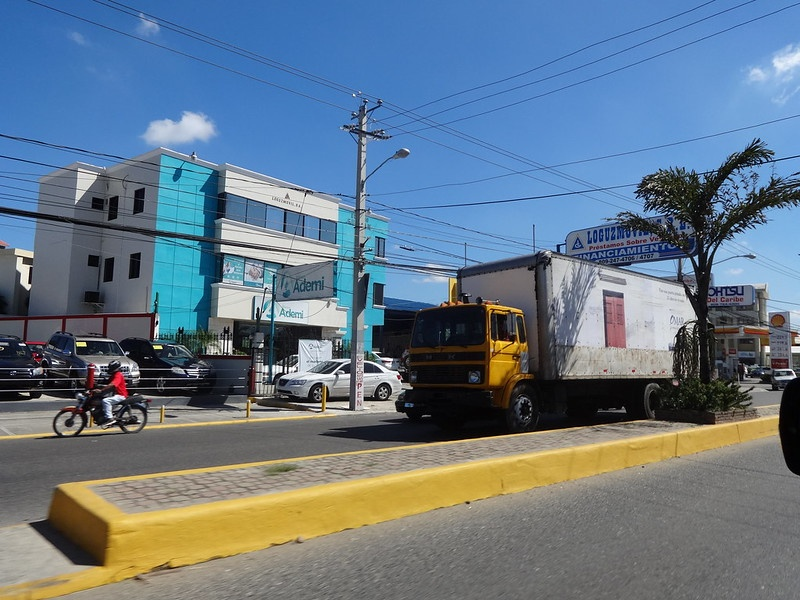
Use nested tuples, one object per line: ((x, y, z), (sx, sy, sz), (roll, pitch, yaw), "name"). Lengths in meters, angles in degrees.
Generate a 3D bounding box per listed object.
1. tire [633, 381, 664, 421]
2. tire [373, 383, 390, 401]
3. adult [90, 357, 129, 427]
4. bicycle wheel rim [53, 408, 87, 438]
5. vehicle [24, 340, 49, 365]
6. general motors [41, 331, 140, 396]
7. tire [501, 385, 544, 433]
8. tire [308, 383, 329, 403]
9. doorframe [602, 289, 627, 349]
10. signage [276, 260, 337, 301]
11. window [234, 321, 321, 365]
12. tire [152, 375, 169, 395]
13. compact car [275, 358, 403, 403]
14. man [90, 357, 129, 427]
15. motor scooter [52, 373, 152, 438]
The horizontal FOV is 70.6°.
((6.837, 2.812, 15.661), (0.981, 0.885, 0.280), (8, 0, -43), "tire")
((-0.738, 3.727, 23.050), (0.837, 0.754, 0.295), (-2, -5, -43), "tire")
((-7.180, 2.325, 14.047), (1.054, 1.529, 0.806), (20, -43, -33), "adult")
((-7.163, 2.711, 12.382), (0.254, 0.660, 0.686), (-10, -4, 37), "bicycle wheel rim")
((-12.939, 1.916, 20.265), (0.658, 0.512, 1.054), (9, -14, -31), "vehicle")
((-11.662, 2.174, 20.411), (5.300, 2.178, 2.483), (-4, -8, 37), "general motors")
((2.671, 2.364, 12.403), (0.298, 1.039, 1.241), (-2, -5, 40), "tire")
((-2.889, 3.279, 19.977), (0.201, 0.579, 0.626), (9, 25, 43), "tire")
((5.442, 0.498, 14.458), (0.201, 1.633, 1.552), (-6, -9, 38), "doorframe")
((-4.526, -0.873, 26.280), (0.305, 1.740, 4.175), (11, 11, 29), "signage")
((-7.057, 2.808, 36.173), (5.006, 2.598, 0.094), (-1, -2, 7), "window")
((-8.776, 3.111, 20.859), (0.514, 0.779, 0.643), (5, -7, -1), "tire")
((-1.964, 3.155, 21.689), (4.693, 1.355, 1.888), (7, -10, -33), "compact car")
((-7.180, 2.325, 14.047), (1.054, 1.529, 0.806), (20, -43, -33), "man")
((-6.678, 2.458, 12.902), (1.970, 1.174, 1.020), (5, -19, -39), "motor scooter")
